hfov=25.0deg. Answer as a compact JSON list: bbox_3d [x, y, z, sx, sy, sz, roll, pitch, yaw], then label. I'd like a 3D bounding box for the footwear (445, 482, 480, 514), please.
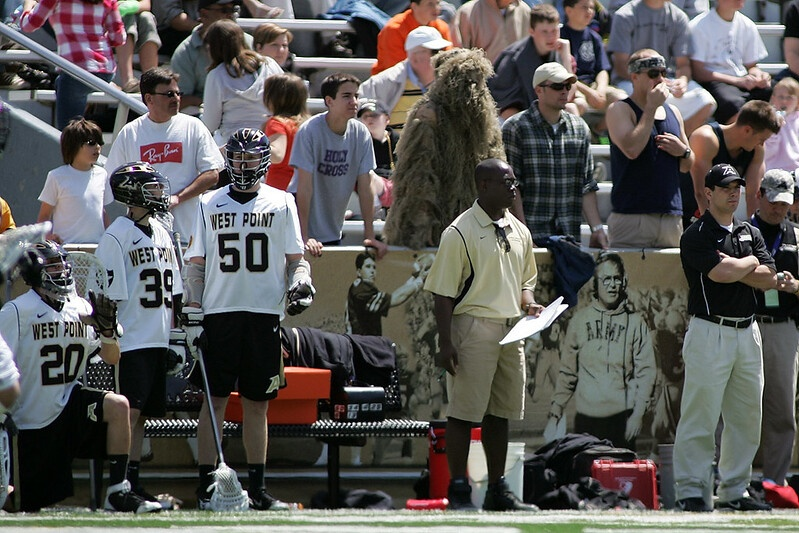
[{"bbox_3d":[0.512,1.884,14.772,0.245,0.240,0.211,0,-1,-2],"label":"footwear"}]

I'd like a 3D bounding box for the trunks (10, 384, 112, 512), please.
[{"bbox_3d":[-2.774,1.453,14.586,0.721,1.015,1.088,8,-2,38],"label":"trunks"}]

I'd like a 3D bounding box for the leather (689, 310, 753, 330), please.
[{"bbox_3d":[2.820,0.474,15.653,0.516,0.120,0.116,0,-1,3],"label":"leather"}]

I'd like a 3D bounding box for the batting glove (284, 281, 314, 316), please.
[{"bbox_3d":[-0.822,0.258,14.826,0.206,0.255,0.137,0,-1,-3],"label":"batting glove"}]

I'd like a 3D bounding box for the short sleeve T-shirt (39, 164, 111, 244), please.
[{"bbox_3d":[-2.921,-0.571,16.361,0.817,0.748,0.438,-4,16,-39],"label":"short sleeve T-shirt"}]

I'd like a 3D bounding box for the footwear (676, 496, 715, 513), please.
[{"bbox_3d":[2.542,2.066,15.474,0.299,0.121,0.111,-4,-5,33],"label":"footwear"}]

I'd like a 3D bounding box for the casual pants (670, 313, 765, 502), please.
[{"bbox_3d":[2.765,1.252,15.645,0.765,1.622,0.331,0,-1,9],"label":"casual pants"}]

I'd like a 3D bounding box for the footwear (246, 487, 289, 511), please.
[{"bbox_3d":[-1.042,1.943,14.796,0.435,0.180,0.134,1,-5,3],"label":"footwear"}]

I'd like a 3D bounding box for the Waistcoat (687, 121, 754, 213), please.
[{"bbox_3d":[2.951,-0.934,16.527,0.516,0.639,0.888,4,-5,-44],"label":"Waistcoat"}]

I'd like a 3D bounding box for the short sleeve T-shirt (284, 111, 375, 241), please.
[{"bbox_3d":[-0.602,-0.818,16.334,0.838,1.107,0.304,0,4,-21],"label":"short sleeve T-shirt"}]

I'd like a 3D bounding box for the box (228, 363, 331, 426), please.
[{"bbox_3d":[-1.180,1.115,15.690,0.901,0.481,0.866,4,2,-27],"label":"box"}]

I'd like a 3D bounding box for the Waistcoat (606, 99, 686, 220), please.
[{"bbox_3d":[2.360,-0.983,16.718,0.725,1.092,0.624,10,-15,-32],"label":"Waistcoat"}]

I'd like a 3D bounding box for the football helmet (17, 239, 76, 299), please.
[{"bbox_3d":[-2.928,-0.003,14.658,0.483,0.457,0.384,-1,2,8],"label":"football helmet"}]

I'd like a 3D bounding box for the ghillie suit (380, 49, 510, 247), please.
[{"bbox_3d":[0.368,-1.112,16.336,1.177,2.092,0.821,-15,40,-20],"label":"ghillie suit"}]

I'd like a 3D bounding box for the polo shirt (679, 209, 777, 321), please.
[{"bbox_3d":[2.863,-0.009,15.802,0.833,0.932,0.725,-3,9,-23],"label":"polo shirt"}]

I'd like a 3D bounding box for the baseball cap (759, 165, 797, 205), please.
[{"bbox_3d":[3.406,-0.761,16.195,0.235,0.192,0.336,5,25,-8],"label":"baseball cap"}]

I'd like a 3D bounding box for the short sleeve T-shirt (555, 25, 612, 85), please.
[{"bbox_3d":[2.024,-2.207,18.411,0.312,0.534,0.571,-26,13,-36],"label":"short sleeve T-shirt"}]

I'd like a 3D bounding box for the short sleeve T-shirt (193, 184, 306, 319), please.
[{"bbox_3d":[-1.264,-0.105,14.849,1.082,1.118,0.639,2,-9,-13],"label":"short sleeve T-shirt"}]

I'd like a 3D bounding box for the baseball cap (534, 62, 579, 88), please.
[{"bbox_3d":[1.378,-1.761,16.358,0.320,0.151,0.232,-1,6,29],"label":"baseball cap"}]

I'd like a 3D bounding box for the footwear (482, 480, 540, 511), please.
[{"bbox_3d":[0.945,1.906,14.827,0.562,0.320,0.189,0,-5,4],"label":"footwear"}]

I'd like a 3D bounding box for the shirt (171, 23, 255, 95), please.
[{"bbox_3d":[-1.991,-2.116,18.001,0.355,0.631,0.811,17,31,33],"label":"shirt"}]

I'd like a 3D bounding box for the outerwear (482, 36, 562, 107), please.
[{"bbox_3d":[1.277,-2.010,17.684,0.787,0.710,0.405,-22,40,-25],"label":"outerwear"}]

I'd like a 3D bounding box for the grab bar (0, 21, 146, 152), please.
[{"bbox_3d":[-3.188,-1.742,17.434,2.483,0.136,0.242,31,-28,5],"label":"grab bar"}]

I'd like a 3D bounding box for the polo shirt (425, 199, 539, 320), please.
[{"bbox_3d":[0.669,-0.062,15.079,1.091,0.922,0.516,4,-3,-31],"label":"polo shirt"}]

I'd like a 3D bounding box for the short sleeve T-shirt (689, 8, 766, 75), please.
[{"bbox_3d":[3.364,-2.351,18.665,0.813,0.612,0.430,5,-15,-23],"label":"short sleeve T-shirt"}]

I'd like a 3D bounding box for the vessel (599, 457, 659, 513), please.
[{"bbox_3d":[1.960,1.908,15.673,0.535,0.443,0.306,-1,1,9],"label":"vessel"}]

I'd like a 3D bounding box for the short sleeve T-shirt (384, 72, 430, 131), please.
[{"bbox_3d":[-0.014,-1.632,17.454,0.474,0.446,0.460,4,-7,28],"label":"short sleeve T-shirt"}]

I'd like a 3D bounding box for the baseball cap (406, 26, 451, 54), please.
[{"bbox_3d":[0.259,-2.215,17.374,0.336,0.167,0.246,0,7,36],"label":"baseball cap"}]

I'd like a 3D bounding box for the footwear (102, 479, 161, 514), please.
[{"bbox_3d":[-2.119,1.899,14.595,0.576,0.259,0.182,2,-3,-3],"label":"footwear"}]

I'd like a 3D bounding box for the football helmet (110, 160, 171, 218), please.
[{"bbox_3d":[-2.166,-0.664,14.991,0.482,0.404,0.384,-3,7,-9],"label":"football helmet"}]

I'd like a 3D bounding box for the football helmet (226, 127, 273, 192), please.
[{"bbox_3d":[-1.156,-0.920,15.064,0.383,0.473,0.507,1,4,7],"label":"football helmet"}]

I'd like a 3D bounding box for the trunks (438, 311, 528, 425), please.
[{"bbox_3d":[0.690,0.819,14.881,0.551,1.029,0.873,-11,-14,43],"label":"trunks"}]

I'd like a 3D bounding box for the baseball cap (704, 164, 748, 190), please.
[{"bbox_3d":[2.824,-0.793,15.726,0.220,0.154,0.293,0,-6,-28],"label":"baseball cap"}]

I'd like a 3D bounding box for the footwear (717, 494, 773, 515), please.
[{"bbox_3d":[3.002,2.073,15.650,0.492,0.182,0.162,-3,-8,11],"label":"footwear"}]
